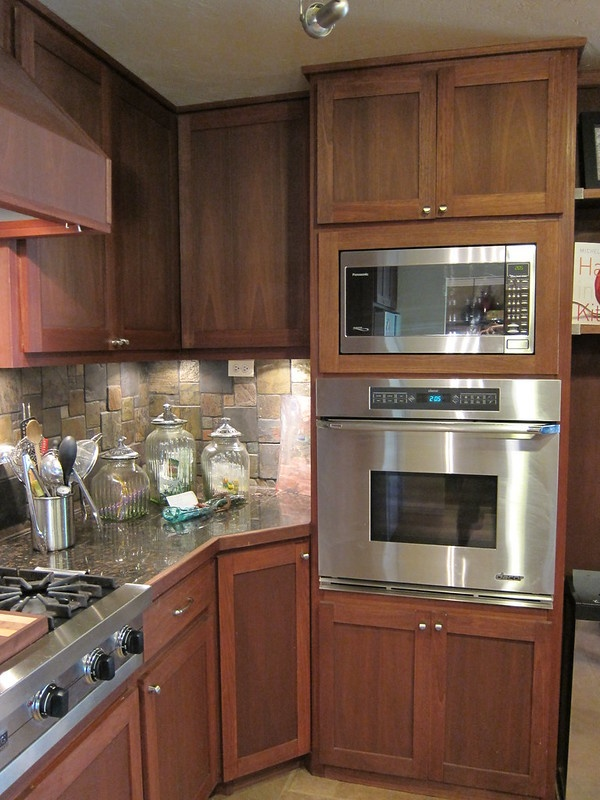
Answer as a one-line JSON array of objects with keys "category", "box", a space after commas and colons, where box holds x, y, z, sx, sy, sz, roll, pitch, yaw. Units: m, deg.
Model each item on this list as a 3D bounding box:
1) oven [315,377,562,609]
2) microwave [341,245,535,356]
[{"category": "oven", "box": [0.434, 0.244, 2.171, 0.717, 0.661, 0.517, 0, 9, 7]}, {"category": "microwave", "box": [0.407, -0.292, 2.094, 0.572, 0.337, 0.315, 1, 5, 11]}]
